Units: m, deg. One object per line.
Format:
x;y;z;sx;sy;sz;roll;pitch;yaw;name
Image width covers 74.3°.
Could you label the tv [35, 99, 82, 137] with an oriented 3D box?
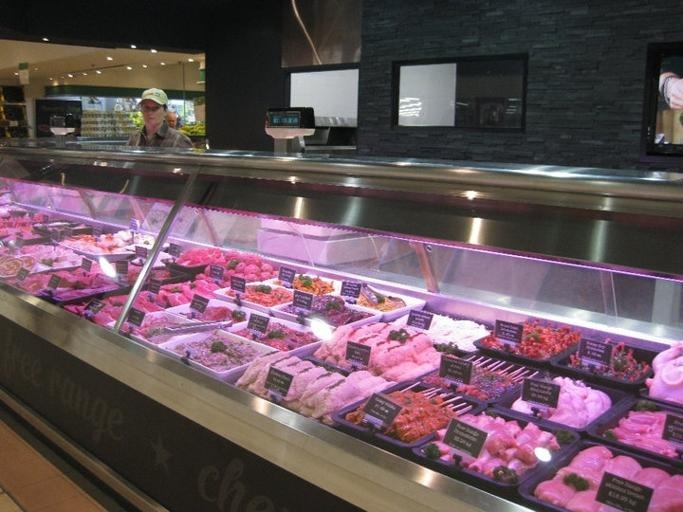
-8.095;-4.135;13.624;1.630;0.893;0.834;4;14;-1;tv
